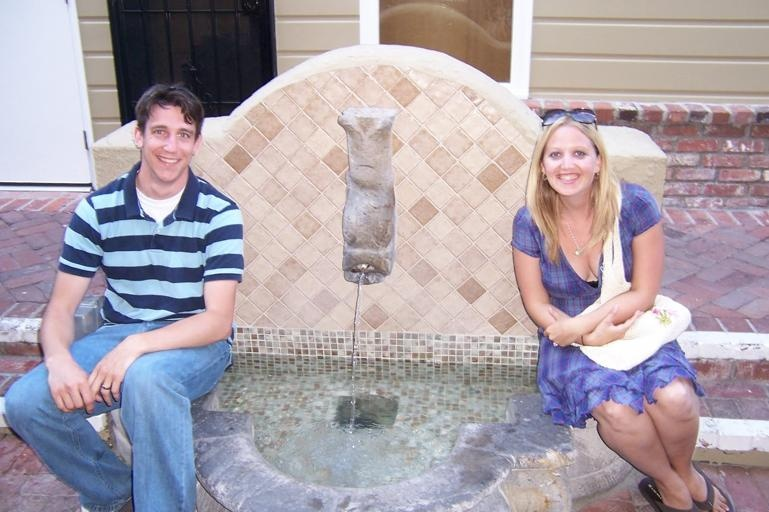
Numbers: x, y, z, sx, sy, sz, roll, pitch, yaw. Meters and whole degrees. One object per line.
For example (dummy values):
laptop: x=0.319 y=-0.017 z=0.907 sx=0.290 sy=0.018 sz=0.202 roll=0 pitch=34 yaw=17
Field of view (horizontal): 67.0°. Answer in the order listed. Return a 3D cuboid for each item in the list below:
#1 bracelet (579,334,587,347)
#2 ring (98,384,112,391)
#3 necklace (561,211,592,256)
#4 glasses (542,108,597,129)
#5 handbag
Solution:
bracelet: x=1.089 y=0.465 z=3.176 sx=0.047 sy=0.037 sz=0.046 roll=-15 pitch=29 yaw=-21
ring: x=-1.406 y=0.656 z=2.909 sx=0.071 sy=0.047 sz=0.020 roll=10 pitch=22 yaw=26
necklace: x=1.076 y=-0.117 z=3.233 sx=0.087 sy=0.227 sz=0.052 roll=-27 pitch=-7 yaw=6
glasses: x=1.019 y=-0.758 z=3.197 sx=0.274 sy=0.105 sz=0.169 roll=3 pitch=19 yaw=8
handbag: x=1.383 y=0.416 z=3.064 sx=0.408 sy=0.128 sz=0.402 roll=-36 pitch=48 yaw=-10
